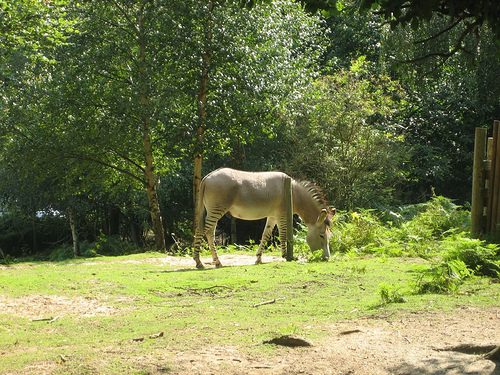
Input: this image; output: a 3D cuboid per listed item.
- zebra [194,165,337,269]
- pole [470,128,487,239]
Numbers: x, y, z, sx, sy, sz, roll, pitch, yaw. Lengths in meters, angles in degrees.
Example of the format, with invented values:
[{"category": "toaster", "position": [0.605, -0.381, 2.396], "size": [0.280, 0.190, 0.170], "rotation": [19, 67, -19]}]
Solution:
[{"category": "zebra", "position": [0.164, 1.327, 19.282], "size": [3.227, 3.508, 3.391], "rotation": [7, 5, -32]}, {"category": "pole", "position": [5.740, -0.175, 16.161], "size": [0.397, 3.097, 0.389], "rotation": [4, 8, 41]}]
